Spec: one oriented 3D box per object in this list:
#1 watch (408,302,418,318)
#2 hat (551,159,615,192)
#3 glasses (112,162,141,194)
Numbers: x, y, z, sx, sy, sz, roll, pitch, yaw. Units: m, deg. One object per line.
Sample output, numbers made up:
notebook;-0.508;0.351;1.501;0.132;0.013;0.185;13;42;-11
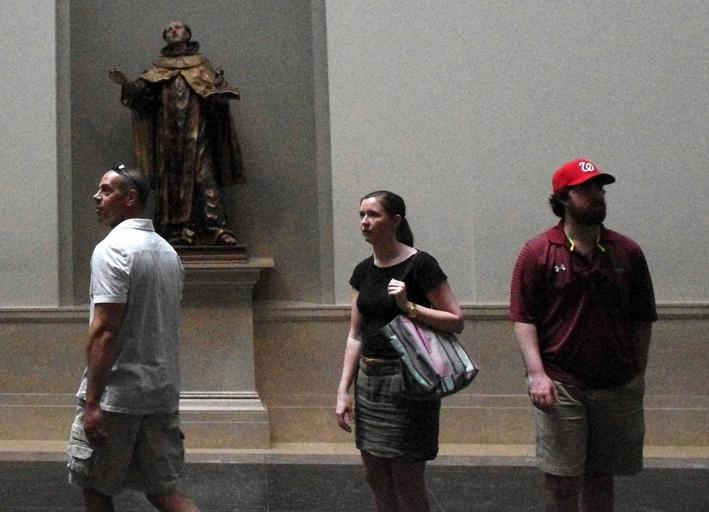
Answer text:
watch;0.419;0.385;7.500;0.058;0.098;0.074;-24;-41;1
hat;1.656;-0.566;7.598;0.381;0.196;0.283;-22;-8;42
glasses;-1.647;-0.551;7.647;0.201;0.203;0.059;25;46;6
